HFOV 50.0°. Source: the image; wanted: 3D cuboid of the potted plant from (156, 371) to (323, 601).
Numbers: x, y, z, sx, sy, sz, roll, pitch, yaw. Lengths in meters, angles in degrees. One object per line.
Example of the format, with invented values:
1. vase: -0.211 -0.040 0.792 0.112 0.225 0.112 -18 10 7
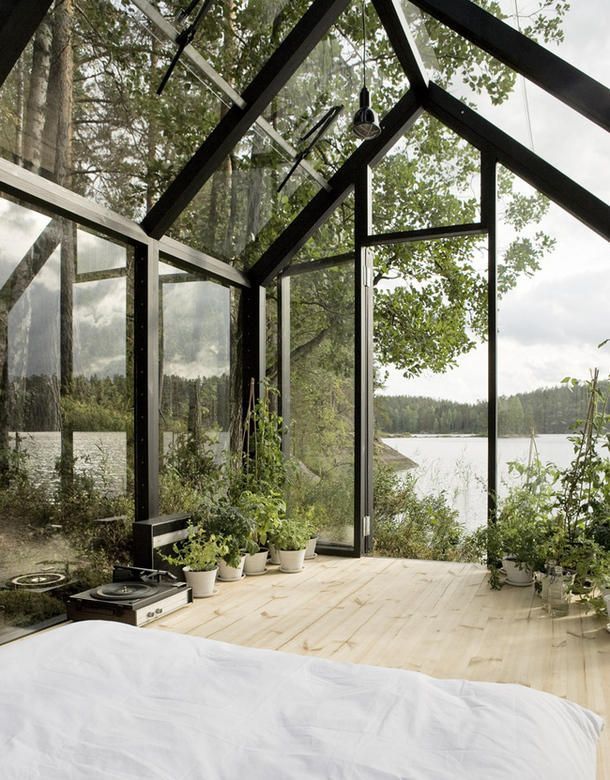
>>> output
1. potted plant: -0.428 0.632 4.710 0.813 1.406 1.703 0 -3 12
